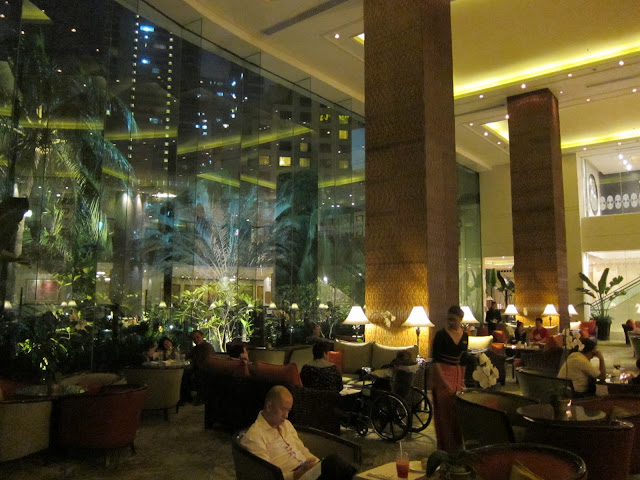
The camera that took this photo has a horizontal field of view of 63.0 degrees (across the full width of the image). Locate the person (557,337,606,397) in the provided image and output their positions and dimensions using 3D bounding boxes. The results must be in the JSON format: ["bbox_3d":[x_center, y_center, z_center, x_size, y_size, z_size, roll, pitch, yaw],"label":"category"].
[{"bbox_3d":[3.626,1.832,7.101,0.605,0.911,0.499,-5,9,-6],"label":"person"}]

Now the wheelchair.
[{"bbox_3d":[0.907,2.247,7.297,1.252,0.927,0.976,2,-6,18],"label":"wheelchair"}]

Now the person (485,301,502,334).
[{"bbox_3d":[5.262,2.515,15.826,0.432,1.251,0.385,-2,16,9],"label":"person"}]
